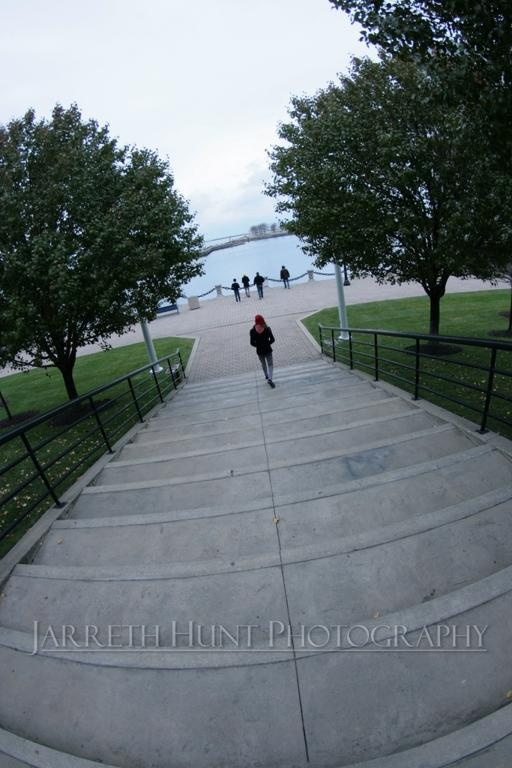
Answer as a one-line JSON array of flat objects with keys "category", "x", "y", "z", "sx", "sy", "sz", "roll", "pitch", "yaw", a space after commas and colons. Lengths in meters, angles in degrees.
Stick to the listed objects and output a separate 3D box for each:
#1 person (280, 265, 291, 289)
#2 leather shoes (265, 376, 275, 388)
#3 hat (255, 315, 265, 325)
[{"category": "person", "x": 1.997, "y": -7.085, "z": 28.702, "sx": 0.489, "sy": 1.522, "sz": 1.271, "roll": -9, "pitch": 24, "yaw": 4}, {"category": "leather shoes", "x": 0.301, "y": 0.024, "z": 9.029, "sx": 0.111, "sy": 0.269, "sz": 0.175, "roll": -8, "pitch": 58, "yaw": 21}, {"category": "hat", "x": 0.076, "y": -1.274, "z": 8.449, "sx": 0.146, "sy": 0.203, "sz": 0.263, "roll": -11, "pitch": 23, "yaw": -2}]
